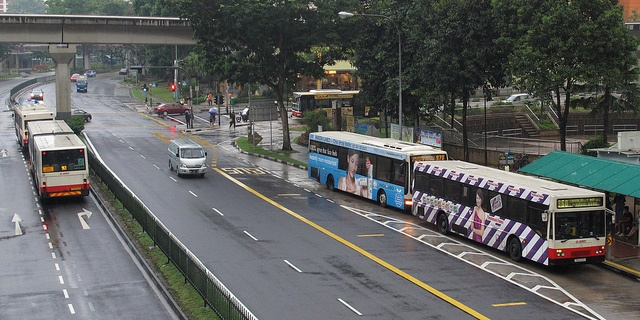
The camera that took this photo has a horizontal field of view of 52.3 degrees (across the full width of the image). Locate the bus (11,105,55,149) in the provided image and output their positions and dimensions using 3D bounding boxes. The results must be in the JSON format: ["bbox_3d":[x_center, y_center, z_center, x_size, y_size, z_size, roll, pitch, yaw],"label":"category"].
[{"bbox_3d":[-37.673,-4.523,85.678,4.250,4.880,12.120,-5,12,-29],"label":"bus"}]

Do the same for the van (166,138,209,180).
[{"bbox_3d":[-14.964,-0.291,73.283,3.682,2.936,6.487,-3,12,-27],"label":"van"}]

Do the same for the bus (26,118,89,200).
[{"bbox_3d":[-27.974,0.062,69.750,5.317,4.926,16.329,-5,11,-23],"label":"bus"}]

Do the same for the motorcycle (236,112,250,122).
[{"bbox_3d":[-12.755,-7.251,108.373,1.257,1.873,2.562,-8,12,-32],"label":"motorcycle"}]
